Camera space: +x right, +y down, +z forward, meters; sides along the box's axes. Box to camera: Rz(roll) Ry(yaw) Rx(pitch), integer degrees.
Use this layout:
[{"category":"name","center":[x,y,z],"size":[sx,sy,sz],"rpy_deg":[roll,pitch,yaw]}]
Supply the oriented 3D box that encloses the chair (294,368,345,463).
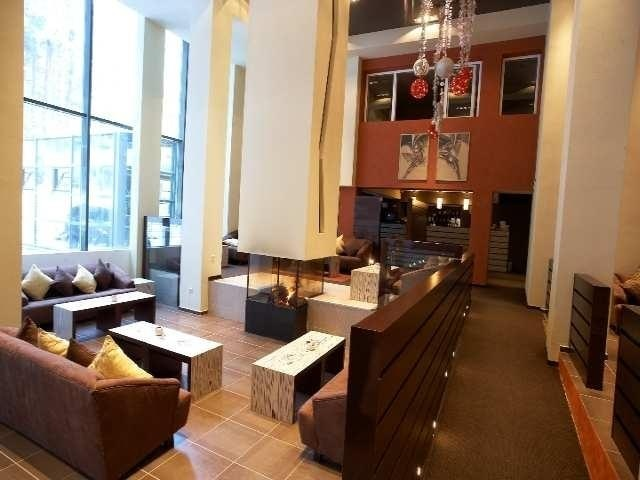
[{"category":"chair","center":[-0.013,1.963,5.226],"size":[0.421,0.638,0.803],"rpy_deg":[8,8,34]}]

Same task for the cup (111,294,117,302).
[{"category":"cup","center":[-3.312,0.935,7.629],"size":[0.084,0.104,0.090],"rpy_deg":[1,7,0]}]

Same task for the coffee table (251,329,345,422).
[{"category":"coffee table","center":[-0.231,1.751,6.297],"size":[0.595,0.640,1.429],"rpy_deg":[7,11,27]}]

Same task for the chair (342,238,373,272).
[{"category":"chair","center":[0.834,0.349,11.892],"size":[0.772,0.819,0.785],"rpy_deg":[1,-2,26]}]

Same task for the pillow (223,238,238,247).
[{"category":"pillow","center":[-2.316,0.049,12.509],"size":[0.326,0.097,0.329],"rpy_deg":[5,8,22]}]
